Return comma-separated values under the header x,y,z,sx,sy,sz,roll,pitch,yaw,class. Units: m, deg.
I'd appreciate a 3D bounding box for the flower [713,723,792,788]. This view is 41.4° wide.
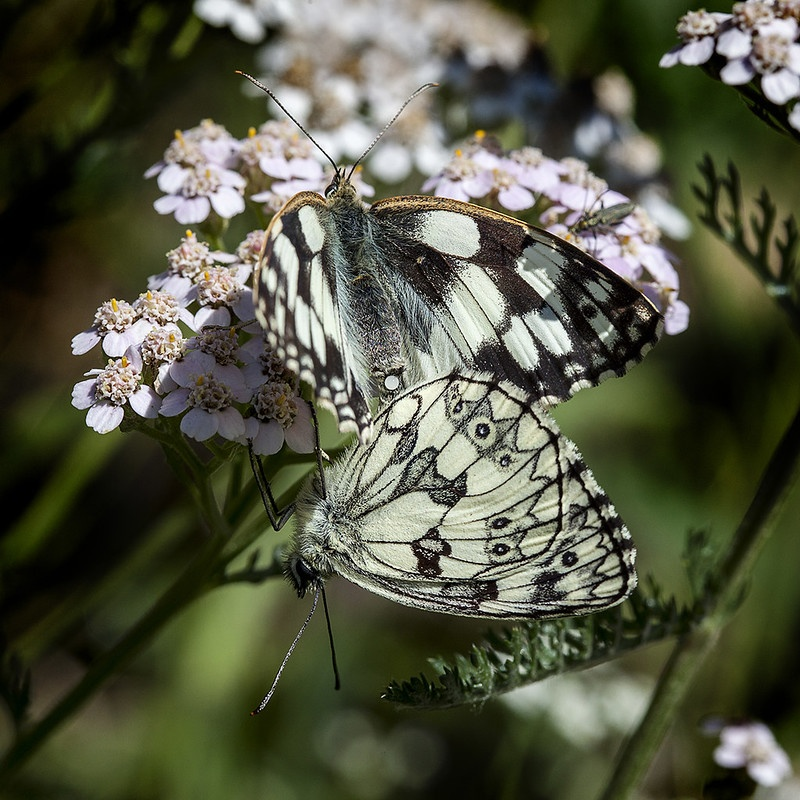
x,y,z,sx,sy,sz,roll,pitch,yaw,class
1.509,1.505,4.579,0.293,0.101,0.324,9,30,-2,flower
